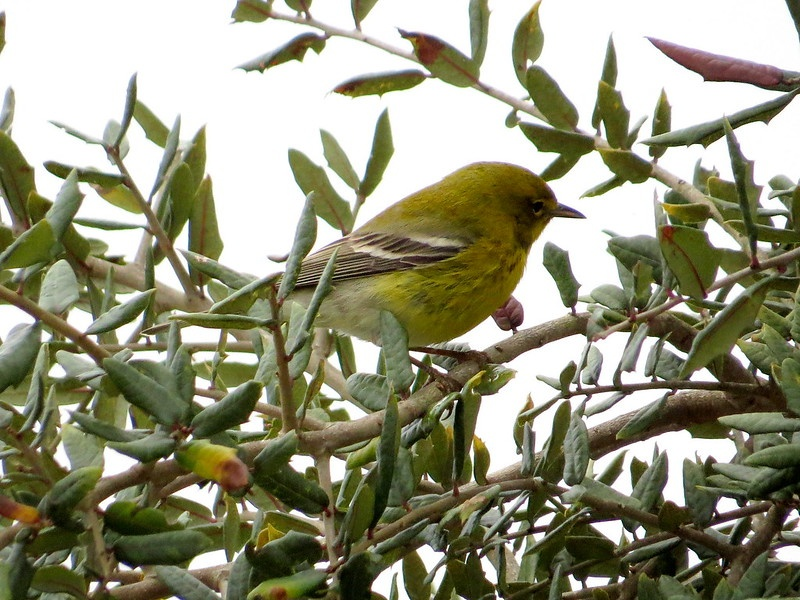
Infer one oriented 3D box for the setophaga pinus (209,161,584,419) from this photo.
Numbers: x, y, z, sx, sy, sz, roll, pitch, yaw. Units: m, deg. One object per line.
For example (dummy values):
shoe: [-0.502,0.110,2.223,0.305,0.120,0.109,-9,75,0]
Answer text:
setophaga pinus: [-0.020,-0.192,5.422,1.576,0.667,1.070,6,-88,14]
